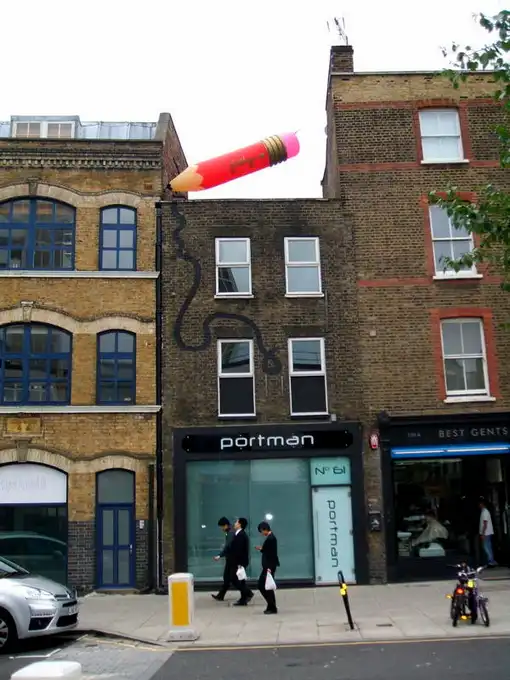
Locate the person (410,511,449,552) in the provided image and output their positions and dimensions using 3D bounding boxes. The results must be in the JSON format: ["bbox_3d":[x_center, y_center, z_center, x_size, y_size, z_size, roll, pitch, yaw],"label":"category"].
[{"bbox_3d":[4.151,4.544,18.314,0.899,0.791,0.883,-3,-15,1],"label":"person"}]

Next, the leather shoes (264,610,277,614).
[{"bbox_3d":[0.283,4.856,13.738,0.241,0.082,0.076,1,-13,4],"label":"leather shoes"}]

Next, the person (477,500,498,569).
[{"bbox_3d":[5.527,4.623,18.356,0.359,1.557,0.926,-7,-15,14],"label":"person"}]

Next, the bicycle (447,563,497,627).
[{"bbox_3d":[3.395,4.037,12.130,0.530,0.681,1.251,-1,-12,10],"label":"bicycle"}]

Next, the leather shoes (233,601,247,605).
[{"bbox_3d":[-0.285,5.111,14.862,0.269,0.093,0.086,-1,-18,15],"label":"leather shoes"}]
